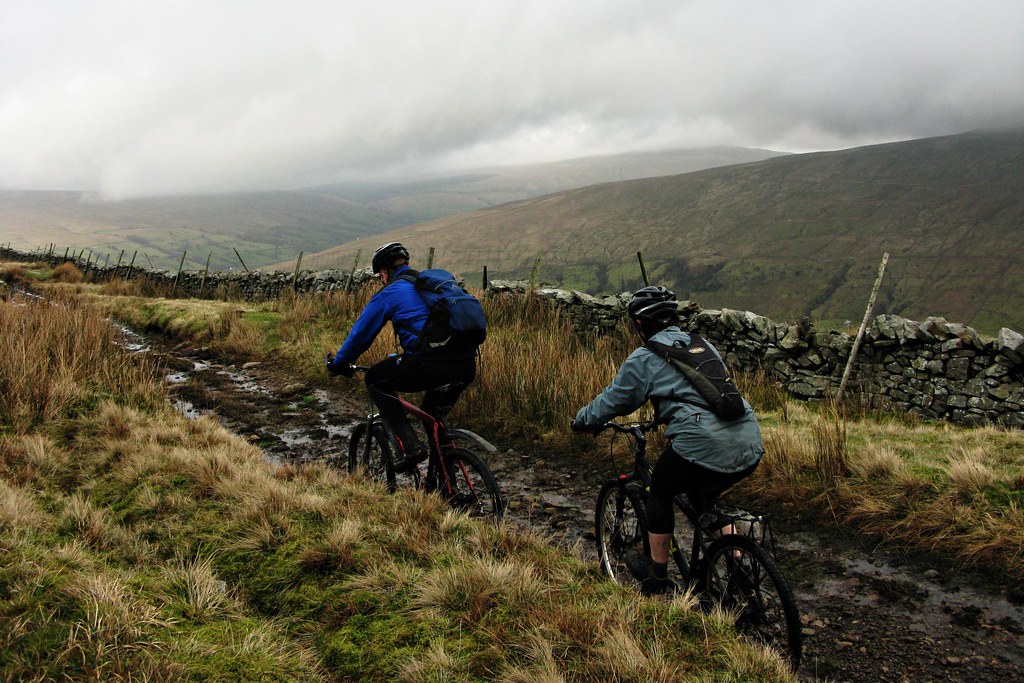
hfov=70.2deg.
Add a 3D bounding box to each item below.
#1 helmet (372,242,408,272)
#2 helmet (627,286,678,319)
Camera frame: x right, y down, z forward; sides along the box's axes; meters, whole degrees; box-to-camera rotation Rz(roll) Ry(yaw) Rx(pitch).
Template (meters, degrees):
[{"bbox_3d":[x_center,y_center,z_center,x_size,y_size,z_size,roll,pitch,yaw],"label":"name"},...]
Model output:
[{"bbox_3d":[-1.453,-1.016,8.724,0.439,0.393,0.345,5,10,17],"label":"helmet"},{"bbox_3d":[1.481,-0.374,7.453,0.429,0.388,0.348,14,3,25],"label":"helmet"}]
